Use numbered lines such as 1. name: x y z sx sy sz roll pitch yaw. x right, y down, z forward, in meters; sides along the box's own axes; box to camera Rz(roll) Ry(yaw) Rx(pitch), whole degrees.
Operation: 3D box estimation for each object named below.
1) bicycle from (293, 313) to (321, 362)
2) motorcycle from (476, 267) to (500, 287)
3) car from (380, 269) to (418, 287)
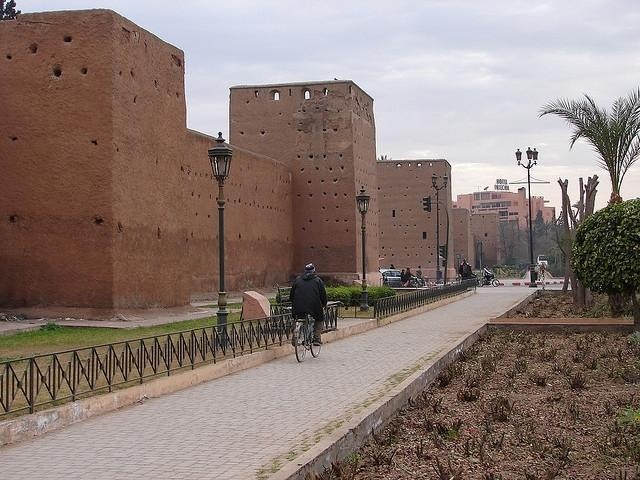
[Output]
1. bicycle: -0.231 1.739 12.350 0.478 0.711 1.281 -3 -2 -1
2. motorcycle: 11.974 2.672 48.488 1.334 0.967 0.891 -4 1 17
3. car: 4.935 2.527 44.372 1.976 1.010 1.249 1 -2 -7
